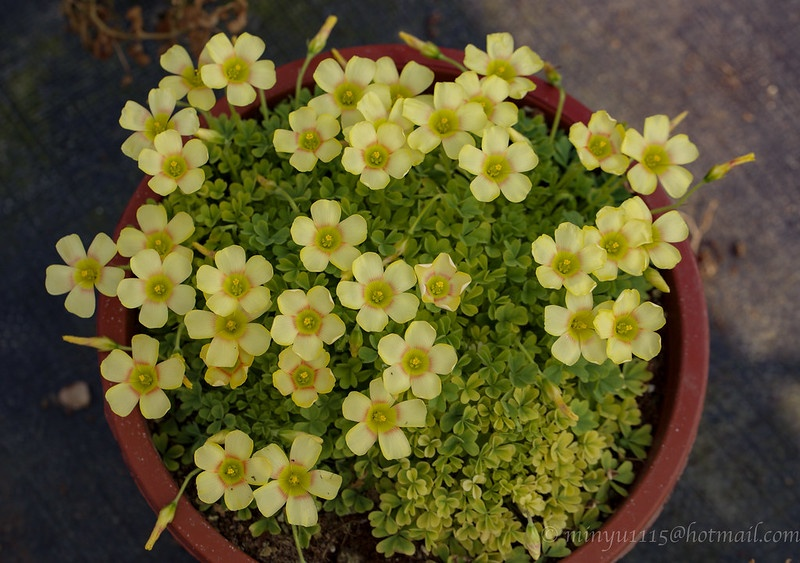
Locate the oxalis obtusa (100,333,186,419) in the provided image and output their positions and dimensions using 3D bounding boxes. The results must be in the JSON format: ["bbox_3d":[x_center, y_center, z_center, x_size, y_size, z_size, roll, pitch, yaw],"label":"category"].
[{"bbox_3d":[-0.957,0.354,2.704,0.283,0.078,0.300,30,82,2],"label":"oxalis obtusa"}]

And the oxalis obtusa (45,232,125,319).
[{"bbox_3d":[-1.193,-0.006,2.752,0.287,0.086,0.324,-5,86,6],"label":"oxalis obtusa"}]
